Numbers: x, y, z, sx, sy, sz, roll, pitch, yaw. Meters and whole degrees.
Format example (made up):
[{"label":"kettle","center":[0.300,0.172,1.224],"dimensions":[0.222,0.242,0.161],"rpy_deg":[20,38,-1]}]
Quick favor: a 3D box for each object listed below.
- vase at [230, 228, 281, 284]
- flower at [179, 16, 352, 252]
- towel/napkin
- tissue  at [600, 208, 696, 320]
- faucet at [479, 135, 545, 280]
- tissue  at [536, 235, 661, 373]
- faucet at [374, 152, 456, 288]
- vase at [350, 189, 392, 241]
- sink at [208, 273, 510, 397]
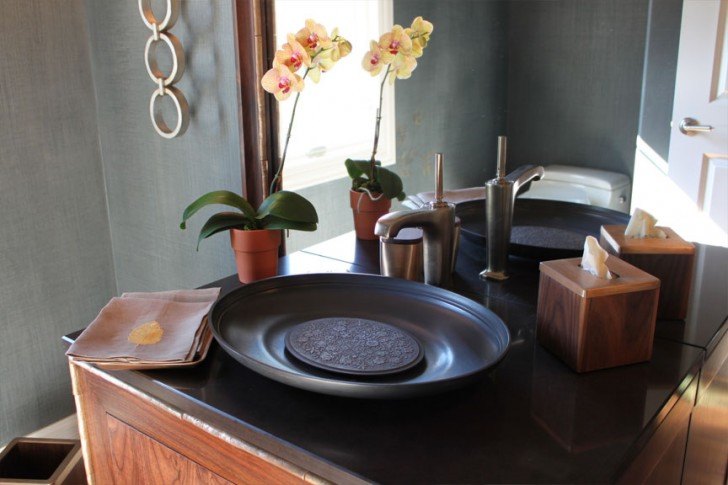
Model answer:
[{"label":"vase","center":[-0.295,0.023,1.444],"dimensions":[0.138,0.156,0.137],"rpy_deg":[-6,21,-23]},{"label":"flower","center":[-0.233,-0.265,1.527],"dimensions":[0.438,0.694,0.563],"rpy_deg":[2,22,12]},{"label":"towel/napkin","center":[-0.466,0.188,1.155],"dimensions":[0.276,0.057,0.236],"rpy_deg":[-2,21,0]},{"label":"tissue ","center":[0.626,0.055,1.167],"dimensions":[0.161,0.212,0.213],"rpy_deg":[-6,21,-15]},{"label":"faucet","center":[0.390,-0.108,1.416],"dimensions":[0.128,0.383,0.205],"rpy_deg":[15,27,36]},{"label":"tissue ","center":[0.491,0.125,1.116],"dimensions":[0.214,0.221,0.216],"rpy_deg":[0,17,10]},{"label":"faucet","center":[0.140,-0.029,1.268],"dimensions":[0.071,0.340,0.262],"rpy_deg":[17,29,40]},{"label":"vase","center":[0.015,-0.091,1.694],"dimensions":[0.140,0.158,0.141],"rpy_deg":[7,13,29]},{"label":"sink","center":[-0.012,0.187,1.099],"dimensions":[0.606,0.120,0.378],"rpy_deg":[3,22,14]}]
